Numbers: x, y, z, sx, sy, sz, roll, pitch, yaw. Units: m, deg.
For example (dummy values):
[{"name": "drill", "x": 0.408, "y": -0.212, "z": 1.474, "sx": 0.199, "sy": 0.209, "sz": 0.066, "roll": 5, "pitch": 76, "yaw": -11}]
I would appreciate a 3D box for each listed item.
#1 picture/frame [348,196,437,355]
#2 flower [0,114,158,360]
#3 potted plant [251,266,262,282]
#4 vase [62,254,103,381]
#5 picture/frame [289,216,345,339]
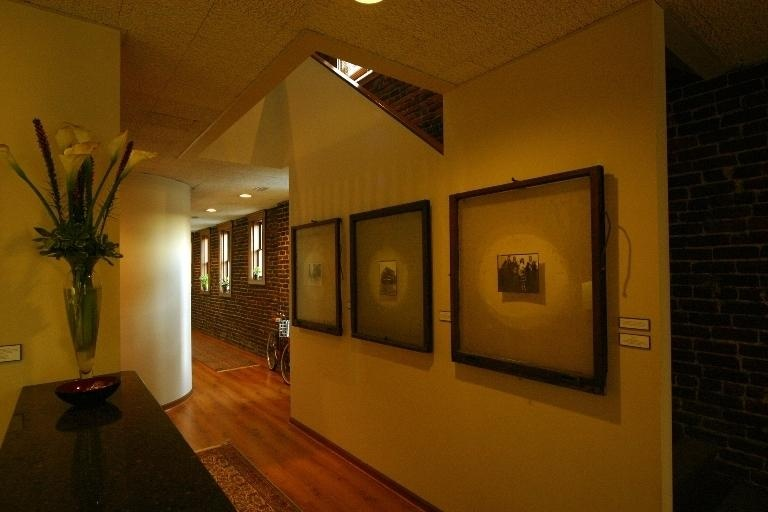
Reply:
[{"name": "picture/frame", "x": 0.024, "y": 0.166, "z": 4.069, "sx": 0.087, "sy": 1.107, "sz": 0.895, "roll": 1, "pitch": -3, "yaw": -42}, {"name": "flower", "x": -1.694, "y": -0.126, "z": 2.792, "sx": 0.634, "sy": 1.334, "sz": 0.735, "roll": 1, "pitch": -3, "yaw": -43}, {"name": "potted plant", "x": -2.045, "y": 0.281, "z": 8.267, "sx": 0.216, "sy": 0.282, "sz": 0.281, "roll": 2, "pitch": 2, "yaw": -5}, {"name": "vase", "x": -1.616, "y": 0.348, "z": 2.742, "sx": 0.176, "sy": 0.624, "sz": 0.163, "roll": -3, "pitch": -3, "yaw": 45}, {"name": "picture/frame", "x": -0.608, "y": 0.198, "z": 4.798, "sx": 0.098, "sy": 1.393, "sz": 1.203, "roll": -1, "pitch": 0, "yaw": -29}]
